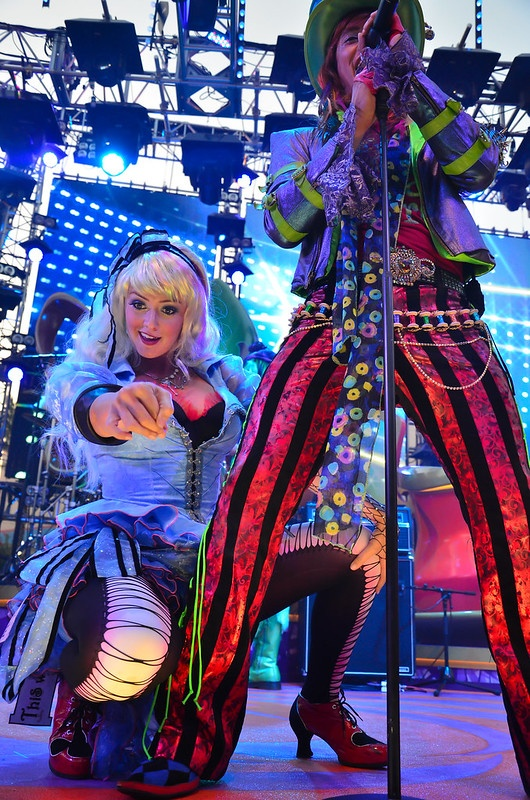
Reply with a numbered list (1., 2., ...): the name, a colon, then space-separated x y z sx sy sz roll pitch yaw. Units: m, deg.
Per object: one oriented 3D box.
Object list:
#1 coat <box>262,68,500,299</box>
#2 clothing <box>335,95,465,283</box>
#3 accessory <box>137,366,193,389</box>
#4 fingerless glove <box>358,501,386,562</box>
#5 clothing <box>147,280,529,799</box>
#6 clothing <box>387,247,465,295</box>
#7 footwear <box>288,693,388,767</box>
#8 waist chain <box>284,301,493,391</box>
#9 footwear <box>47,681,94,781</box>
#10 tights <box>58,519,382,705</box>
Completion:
1. coat: 0.299 -0.510 1.419 0.353 0.484 0.462 -26 16 6
2. clothing: 0.284 -0.376 1.227 0.230 0.298 0.122 0 11 6
3. accessory: -0.253 -0.055 1.672 0.086 0.016 0.059 -4 30 -33
4. fingerless glove: 0.242 0.283 1.439 0.055 0.136 0.143 3 -7 -3
5. clothing: 0.199 0.210 1.222 0.751 0.855 0.263 2 -26 21
6. clothing: 0.314 -0.244 1.284 0.133 0.075 0.034 19 -19 -14
7. footwear: 0.171 0.717 1.409 0.248 0.122 0.079 -5 -22 29
8. waist chain: 0.255 -0.113 1.274 0.316 0.183 0.071 -1 -20 4
9. footwear: -0.369 0.624 1.256 0.064 0.063 0.178 12 29 -18
10. tights: -0.073 0.452 1.532 0.777 0.249 0.667 -8 0 -11
